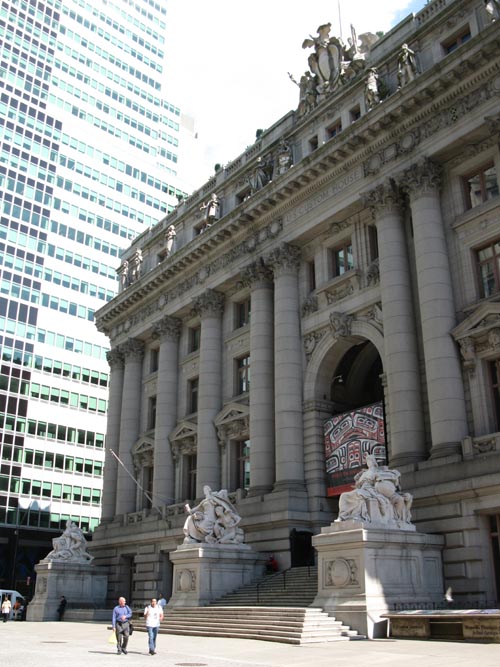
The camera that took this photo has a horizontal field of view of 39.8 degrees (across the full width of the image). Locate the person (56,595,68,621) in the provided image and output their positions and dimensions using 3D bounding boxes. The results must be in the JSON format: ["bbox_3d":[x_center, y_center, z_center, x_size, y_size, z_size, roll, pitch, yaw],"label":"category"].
[{"bbox_3d":[-10.047,14.693,36.840,0.445,1.201,1.937,3,-21,-14],"label":"person"}]

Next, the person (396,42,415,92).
[{"bbox_3d":[6.829,-11.836,30.324,0.778,0.484,2.075,-15,-42,9],"label":"person"}]

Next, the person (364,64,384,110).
[{"bbox_3d":[5.713,-11.415,32.267,0.777,2.444,0.863,-7,-21,12],"label":"person"}]
